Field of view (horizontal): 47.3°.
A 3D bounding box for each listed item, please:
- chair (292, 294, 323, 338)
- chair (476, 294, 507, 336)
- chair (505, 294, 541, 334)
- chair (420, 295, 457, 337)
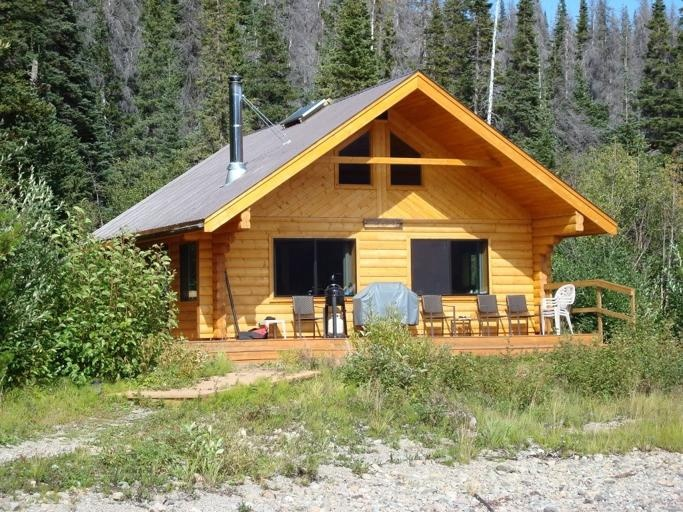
[{"bbox_3d":[-0.870,1.526,19.497,0.572,1.036,0.673,-2,-1,-23],"label":"chair"},{"bbox_3d":[4.029,1.586,20.803,0.585,1.151,0.727,1,-6,-13],"label":"chair"},{"bbox_3d":[4.816,1.603,20.937,0.707,1.158,0.826,-4,-5,15],"label":"chair"},{"bbox_3d":[2.502,1.558,20.442,0.616,1.107,0.709,1,-4,-16],"label":"chair"}]
